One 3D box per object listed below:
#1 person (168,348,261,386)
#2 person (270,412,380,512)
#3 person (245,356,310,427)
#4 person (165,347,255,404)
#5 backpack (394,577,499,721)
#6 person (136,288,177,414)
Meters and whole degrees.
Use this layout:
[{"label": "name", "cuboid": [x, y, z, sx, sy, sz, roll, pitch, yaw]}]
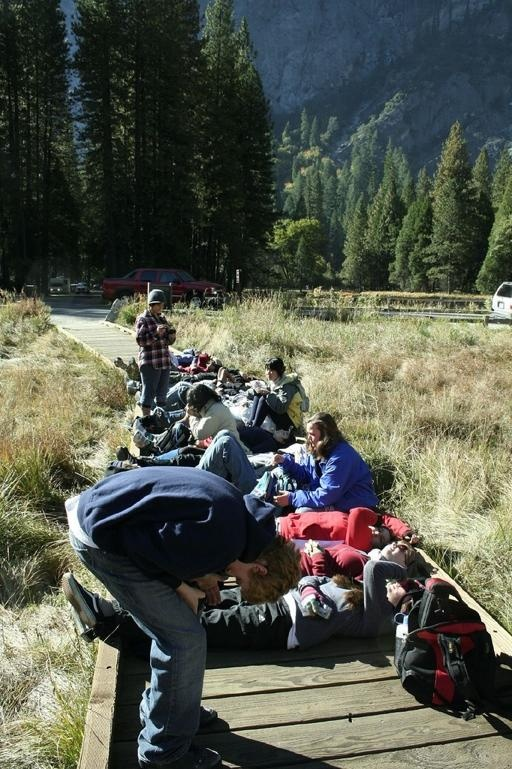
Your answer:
[{"label": "person", "cuboid": [-0.721, -0.201, 8.398, 0.825, 0.293, 0.642, 8, 9, 32]}, {"label": "person", "cuboid": [0.413, 0.613, 4.103, 0.699, 0.861, 0.502, 1, 0, -19]}, {"label": "person", "cuboid": [0.176, 0.160, 6.045, 0.578, 0.790, 0.422, 10, 15, 1]}, {"label": "person", "cuboid": [-0.654, -0.129, 8.128, 0.841, 0.284, 0.731, 7, 12, 29]}, {"label": "backpack", "cuboid": [0.722, 0.968, 2.465, 0.362, 0.428, 0.390, 4, -10, -18]}, {"label": "person", "cuboid": [-1.051, -0.281, 7.107, 0.421, 1.519, 0.504, 8, 19, 22]}]
